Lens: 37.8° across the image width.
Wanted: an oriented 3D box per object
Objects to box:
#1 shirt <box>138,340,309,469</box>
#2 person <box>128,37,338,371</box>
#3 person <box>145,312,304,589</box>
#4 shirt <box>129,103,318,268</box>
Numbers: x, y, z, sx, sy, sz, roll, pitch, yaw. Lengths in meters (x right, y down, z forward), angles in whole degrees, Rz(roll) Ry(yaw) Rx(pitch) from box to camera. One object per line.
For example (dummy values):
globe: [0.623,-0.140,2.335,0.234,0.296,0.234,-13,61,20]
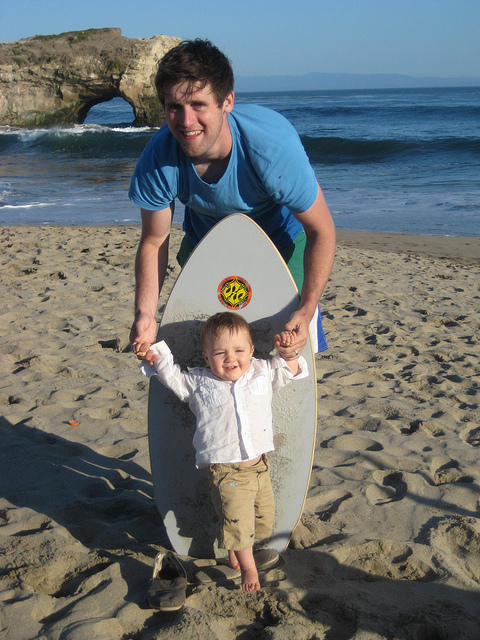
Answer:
shirt: [-0.033,0.305,2.573,0.603,0.378,0.164,0,-25,-13]
person: [-0.031,-0.387,2.586,0.743,1.142,0.531,3,8,-9]
person: [-0.081,0.440,2.461,0.537,0.916,0.375,5,8,6]
shirt: [-0.040,-0.500,2.733,0.711,0.573,0.406,3,35,15]
